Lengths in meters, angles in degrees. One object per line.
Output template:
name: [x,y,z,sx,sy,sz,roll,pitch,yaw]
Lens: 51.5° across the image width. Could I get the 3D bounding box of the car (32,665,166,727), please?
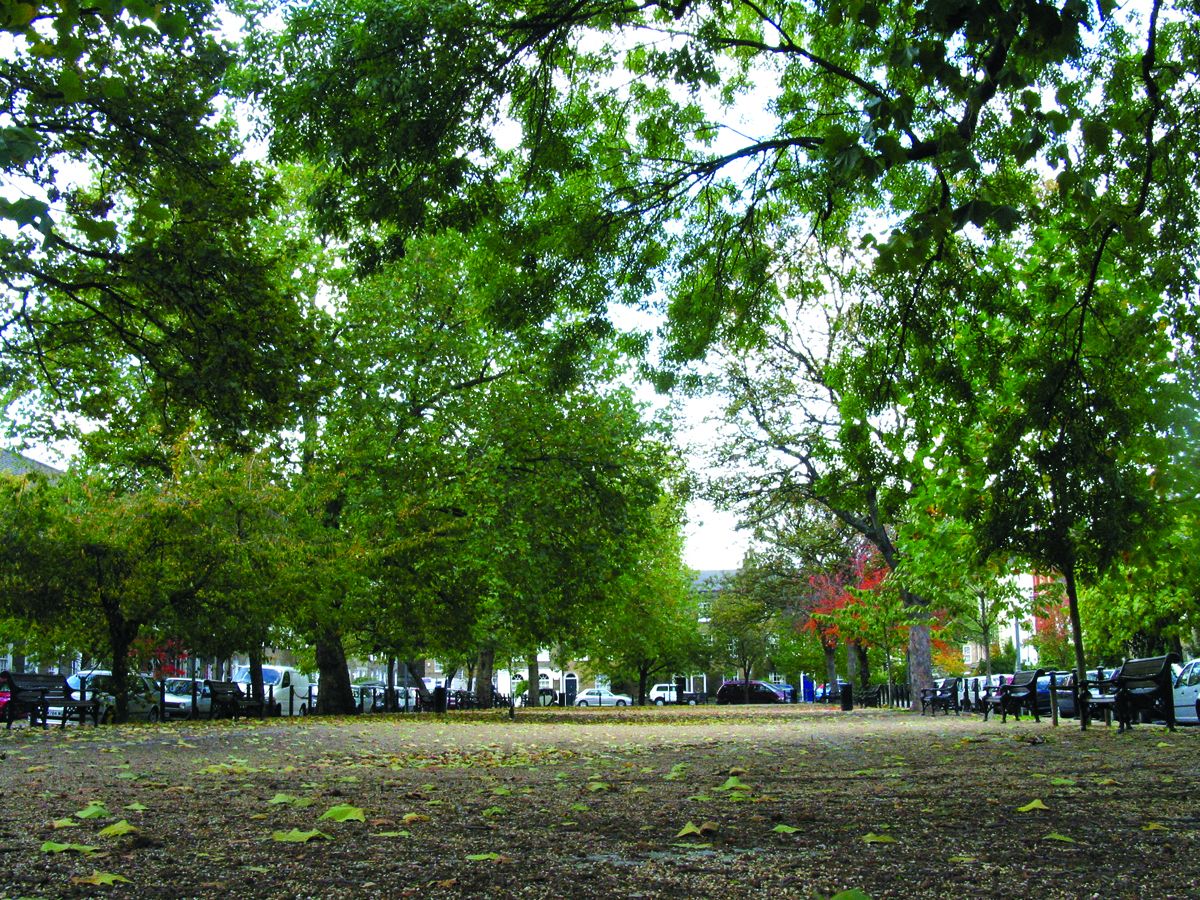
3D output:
car: [-12.216,6.056,30.353,1.684,1.454,2.897,-5,-25,6]
